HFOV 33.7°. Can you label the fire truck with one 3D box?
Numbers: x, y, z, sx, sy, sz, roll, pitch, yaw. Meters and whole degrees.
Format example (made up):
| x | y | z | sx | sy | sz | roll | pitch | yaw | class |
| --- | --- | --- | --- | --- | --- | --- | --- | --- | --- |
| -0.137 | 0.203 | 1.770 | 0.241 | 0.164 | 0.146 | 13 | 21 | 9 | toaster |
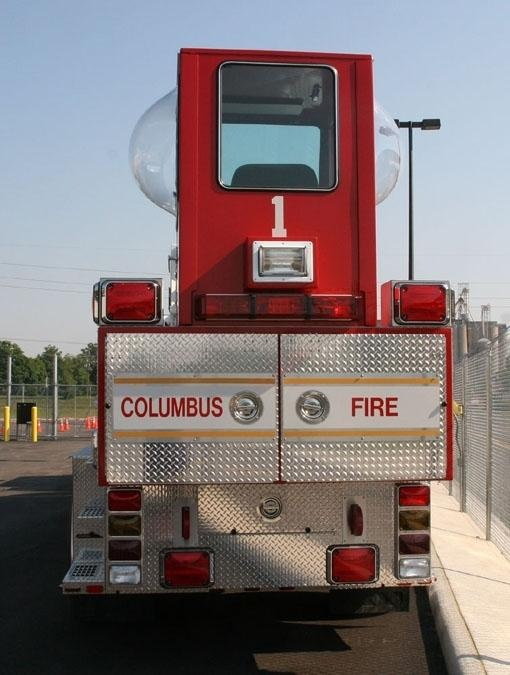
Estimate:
| x | y | z | sx | sy | sz | roll | pitch | yaw | class |
| --- | --- | --- | --- | --- | --- | --- | --- | --- | --- |
| -0.236 | 0.116 | 7.563 | 2.334 | 3.598 | 5.735 | 0 | -3 | -6 | fire truck |
